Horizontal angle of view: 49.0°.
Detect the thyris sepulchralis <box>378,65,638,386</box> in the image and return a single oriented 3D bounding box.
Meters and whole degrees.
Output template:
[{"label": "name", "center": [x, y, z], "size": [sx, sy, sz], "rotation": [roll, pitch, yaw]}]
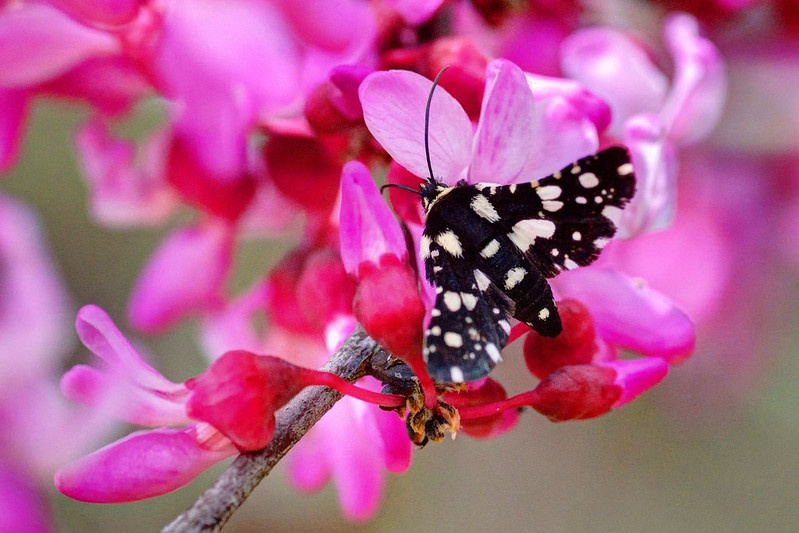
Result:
[{"label": "thyris sepulchralis", "center": [0.055, -0.055, 0.599], "size": [0.232, 0.076, 0.201], "rotation": [-27, 15, -31]}]
